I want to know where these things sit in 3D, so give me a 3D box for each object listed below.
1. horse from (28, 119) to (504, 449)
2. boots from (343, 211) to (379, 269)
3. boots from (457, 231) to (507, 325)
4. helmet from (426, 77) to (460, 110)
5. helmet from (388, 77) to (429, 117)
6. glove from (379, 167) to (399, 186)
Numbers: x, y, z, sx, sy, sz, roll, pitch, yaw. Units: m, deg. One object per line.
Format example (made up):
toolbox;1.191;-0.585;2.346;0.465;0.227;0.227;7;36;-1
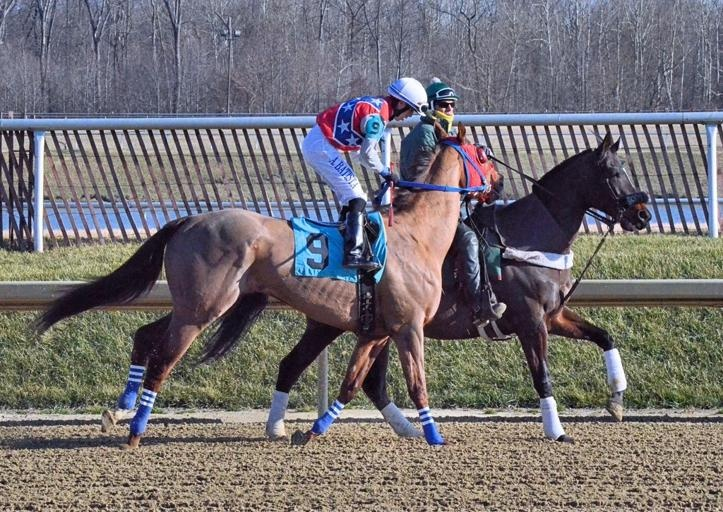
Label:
horse;-1.166;0.554;21.889;6.633;5.276;1.456;2;10;-7
boots;-0.025;-0.171;21.440;0.641;0.999;0.567;0;-2;2
boots;1.722;0.155;21.953;0.511;1.455;0.375;-7;-2;-1
helmet;1.127;-2.380;22.202;0.470;0.428;0.345;9;14;36
helmet;0.652;-2.318;22.096;0.528;0.487;0.453;21;17;-7
glove;0.372;-1.135;21.861;0.254;0.190;0.381;0;7;0
